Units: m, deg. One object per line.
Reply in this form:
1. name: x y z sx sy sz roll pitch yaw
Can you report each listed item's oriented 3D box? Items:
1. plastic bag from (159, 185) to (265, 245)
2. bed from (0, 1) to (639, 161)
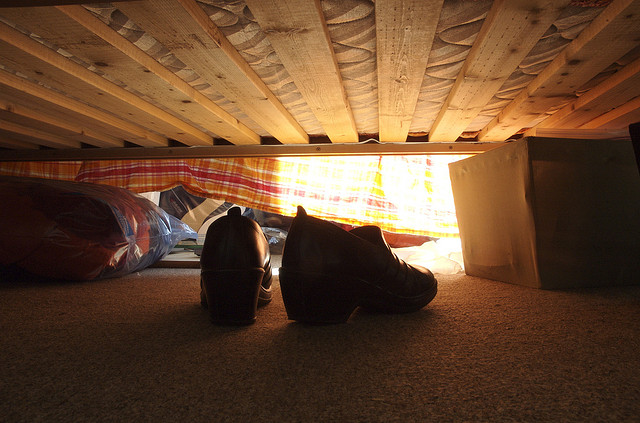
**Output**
1. plastic bag: -0.759 0.025 3.021 1.351 0.458 0.416 -1 -5 1
2. bed: 0.001 -0.507 1.788 3.098 0.434 1.278 0 6 3
